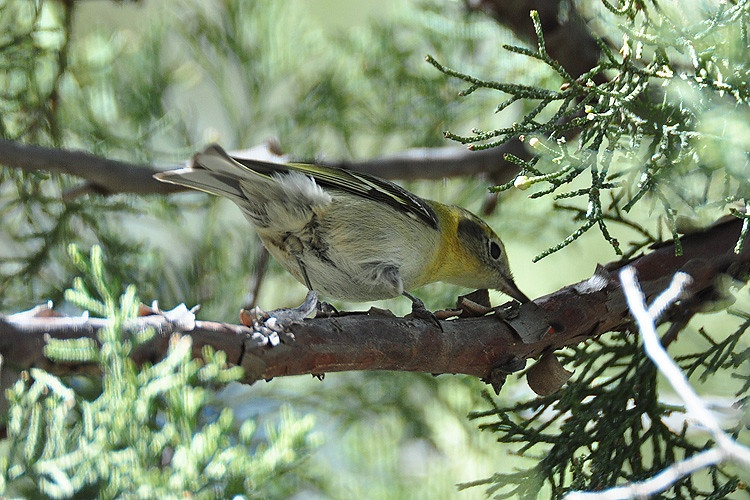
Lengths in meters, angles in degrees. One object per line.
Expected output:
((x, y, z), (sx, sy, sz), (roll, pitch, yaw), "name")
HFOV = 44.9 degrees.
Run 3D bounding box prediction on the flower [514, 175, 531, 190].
((0.718, -0.329, 4.443), (0.058, 0.050, 0.079), (16, -5, 21), "flower")
